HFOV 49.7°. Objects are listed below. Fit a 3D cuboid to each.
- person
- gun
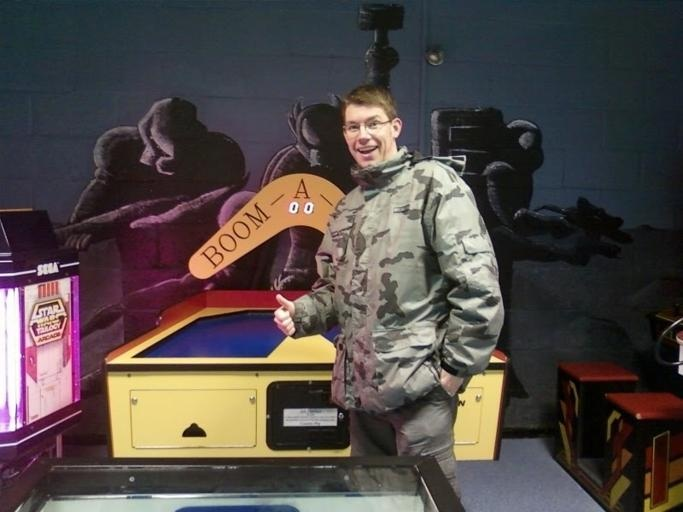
[{"bbox_3d":[0.250,0.141,3.467,0.934,1.874,0.555,6,13,35],"label":"person"},{"bbox_3d":[1.468,-0.238,4.679,0.518,0.301,0.662,7,5,-37],"label":"gun"}]
